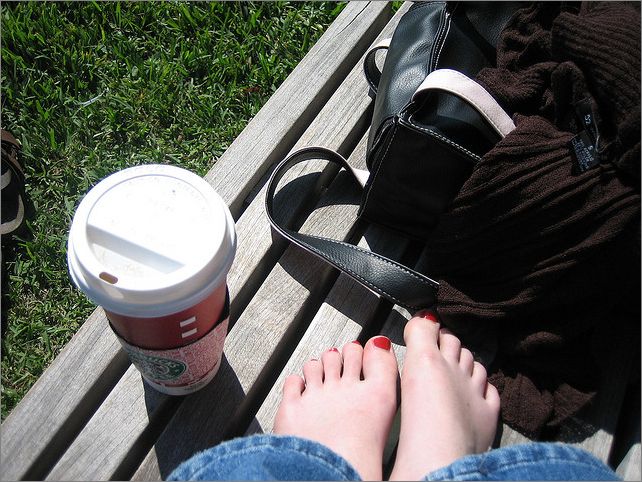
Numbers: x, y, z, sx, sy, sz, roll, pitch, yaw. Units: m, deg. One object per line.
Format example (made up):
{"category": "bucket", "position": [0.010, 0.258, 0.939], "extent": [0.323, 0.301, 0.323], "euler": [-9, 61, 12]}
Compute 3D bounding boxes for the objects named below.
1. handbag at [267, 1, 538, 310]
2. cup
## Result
{"category": "handbag", "position": [0.252, -0.145, 1.565], "extent": [0.703, 0.264, 0.777], "euler": [31, 68, -10]}
{"category": "cup", "position": [-0.328, 0.102, 1.040], "extent": [0.268, 0.381, 0.300], "euler": [24, 59, 8]}
